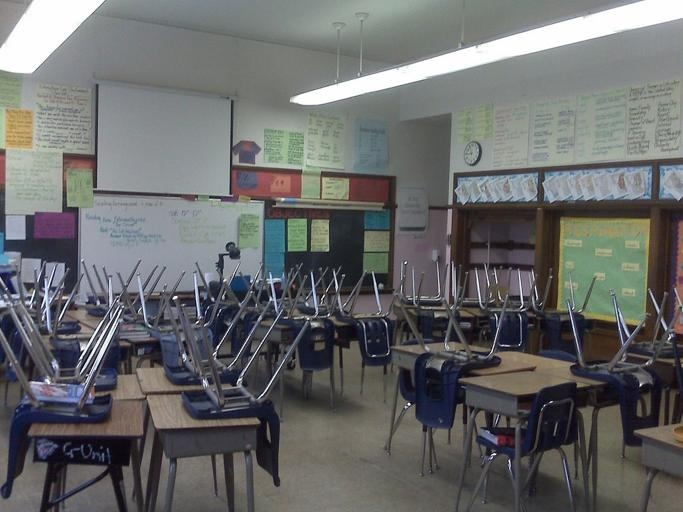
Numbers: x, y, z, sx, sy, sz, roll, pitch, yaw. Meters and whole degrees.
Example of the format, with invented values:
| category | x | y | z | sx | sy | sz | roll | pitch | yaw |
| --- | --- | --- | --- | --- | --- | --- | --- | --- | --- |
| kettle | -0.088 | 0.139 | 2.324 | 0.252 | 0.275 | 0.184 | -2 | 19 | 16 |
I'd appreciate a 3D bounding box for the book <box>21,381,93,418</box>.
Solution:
| category | x | y | z | sx | sy | sz | roll | pitch | yaw |
| --- | --- | --- | --- | --- | --- | --- | --- | --- | --- |
| book | -1.382 | 0.683 | 2.839 | 0.231 | 0.069 | 0.182 | 5 | 1 | -4 |
